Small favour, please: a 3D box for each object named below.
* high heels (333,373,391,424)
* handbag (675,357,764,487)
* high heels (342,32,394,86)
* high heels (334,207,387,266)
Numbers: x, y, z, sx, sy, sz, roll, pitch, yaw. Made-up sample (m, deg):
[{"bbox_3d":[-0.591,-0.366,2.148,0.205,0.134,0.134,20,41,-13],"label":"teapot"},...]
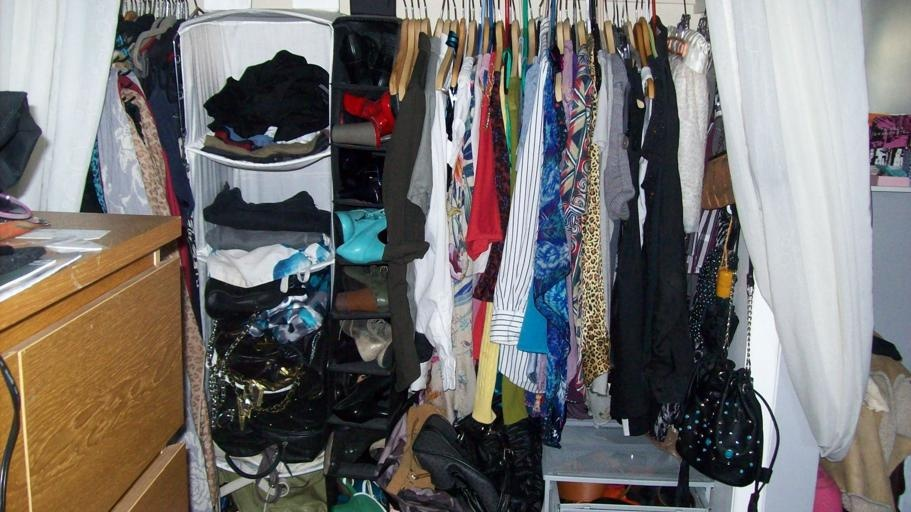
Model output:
[{"bbox_3d":[-0.359,0.616,2.969,0.121,0.131,0.341,5,6,36],"label":"high heels"},{"bbox_3d":[1.056,0.647,2.661,0.321,0.451,0.140,8,17,23],"label":"handbag"},{"bbox_3d":[-0.361,-0.823,2.843,0.196,0.206,0.101,6,17,16],"label":"high heels"},{"bbox_3d":[-0.387,-0.075,2.795,0.201,0.197,0.226,-2,16,-10],"label":"high heels"}]
